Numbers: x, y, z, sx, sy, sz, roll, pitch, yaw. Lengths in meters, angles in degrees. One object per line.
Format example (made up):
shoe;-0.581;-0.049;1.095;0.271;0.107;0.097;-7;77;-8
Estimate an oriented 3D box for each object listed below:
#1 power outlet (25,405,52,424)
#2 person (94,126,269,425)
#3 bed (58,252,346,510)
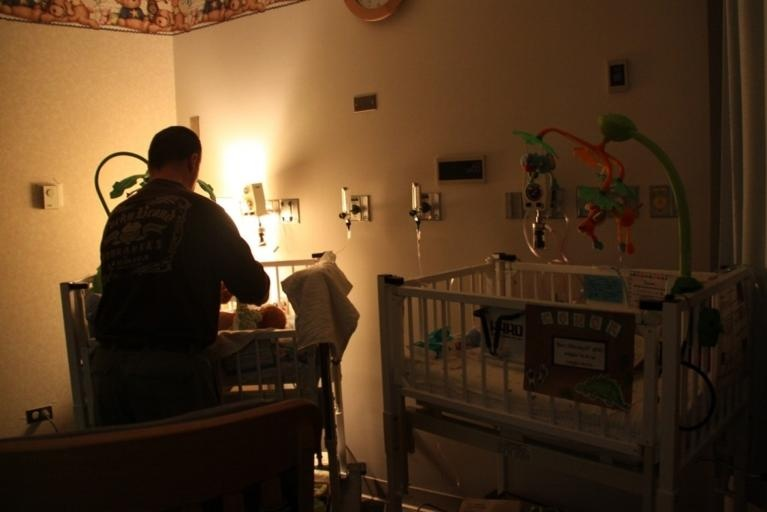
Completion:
power outlet;-2.167;0.992;4.037;0.135;0.133;0.035;-2;-1;-33
person;-0.864;0.193;2.695;0.714;0.919;0.267;-4;3;10
bed;-0.993;0.622;3.512;1.096;1.111;1.572;-4;5;-9
